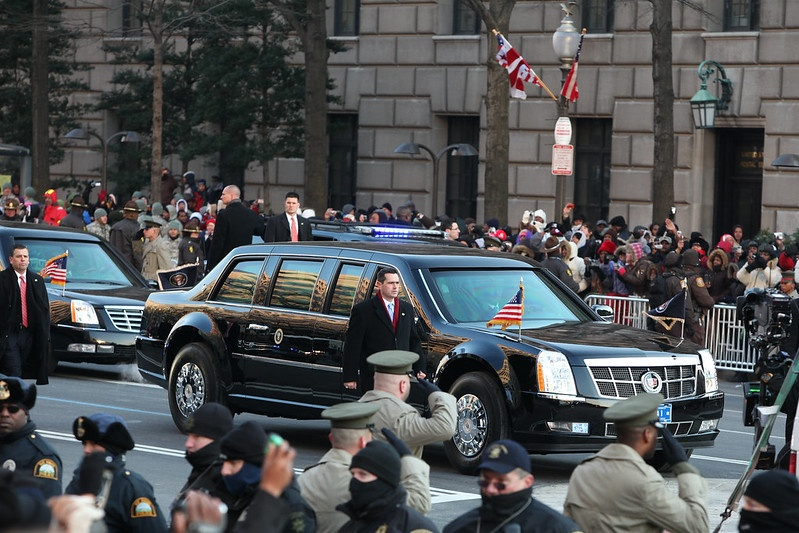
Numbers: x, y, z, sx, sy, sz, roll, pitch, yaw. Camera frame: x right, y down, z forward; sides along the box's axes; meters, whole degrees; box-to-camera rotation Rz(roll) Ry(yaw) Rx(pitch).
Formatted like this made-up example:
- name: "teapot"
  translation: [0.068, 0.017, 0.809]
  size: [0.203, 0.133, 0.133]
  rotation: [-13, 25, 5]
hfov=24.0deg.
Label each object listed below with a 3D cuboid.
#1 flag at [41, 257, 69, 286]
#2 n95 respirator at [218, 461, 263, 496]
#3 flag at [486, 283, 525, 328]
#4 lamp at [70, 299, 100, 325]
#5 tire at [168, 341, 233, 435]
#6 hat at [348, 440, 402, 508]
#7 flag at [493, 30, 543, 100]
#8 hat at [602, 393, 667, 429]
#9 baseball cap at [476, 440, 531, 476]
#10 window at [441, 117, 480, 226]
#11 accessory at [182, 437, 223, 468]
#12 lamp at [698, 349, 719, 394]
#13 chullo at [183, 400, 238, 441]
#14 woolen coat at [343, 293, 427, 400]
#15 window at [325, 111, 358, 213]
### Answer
- name: "flag"
  translation: [-5.998, 0.073, 32.461]
  size: [0.616, 0.101, 0.742]
  rotation: [0, -47, -17]
- name: "n95 respirator"
  translation: [-1.848, 2.550, 22.377]
  size: [0.434, 0.325, 0.338]
  rotation: [-21, -10, 32]
- name: "flag"
  translation: [1.547, 0.599, 27.526]
  size: [0.643, 0.665, 0.108]
  rotation: [4, 5, 36]
- name: "lamp"
  translation: [-5.497, 0.808, 32.586]
  size: [0.346, 0.469, 0.125]
  rotation: [-6, -16, -26]
- name: "tire"
  translation: [-3.083, 1.936, 29.021]
  size: [0.480, 1.344, 1.391]
  rotation: [2, 3, -35]
- name: "hat"
  translation: [-0.279, 2.495, 22.176]
  size: [0.747, 0.776, 0.588]
  rotation: [6, -4, -9]
- name: "flag"
  translation: [2.601, -4.531, 41.659]
  size: [0.877, 1.470, 1.911]
  rotation: [2, 0, 13]
- name: "hat"
  translation: [2.825, 1.776, 22.865]
  size: [0.518, 0.181, 0.443]
  rotation: [-3, 10, 27]
- name: "baseball cap"
  translation: [1.223, 2.271, 22.055]
  size: [0.533, 0.253, 0.370]
  rotation: [14, -19, -34]
- name: "window"
  translation: [1.805, -2.584, 51.921]
  size: [1.056, 3.583, 0.093]
  rotation: [2, -33, 1]
- name: "accessory"
  translation: [-2.379, 2.297, 22.943]
  size: [0.383, 0.245, 0.298]
  rotation: [-27, -5, 20]
- name: "lamp"
  translation: [4.565, 1.553, 27.617]
  size: [0.279, 0.636, 0.413]
  rotation: [2, 0, 21]
- name: "chullo"
  translation: [-2.320, 1.909, 22.910]
  size: [0.553, 0.343, 0.398]
  rotation: [12, 4, -5]
- name: "woolen coat"
  translation: [-0.194, 1.182, 26.333]
  size: [1.615, 1.938, 0.807]
  rotation: [0, -3, -13]
- name: "window"
  translation: [-1.627, -2.956, 53.577]
  size: [0.783, 3.097, 0.187]
  rotation: [-2, -26, 4]
